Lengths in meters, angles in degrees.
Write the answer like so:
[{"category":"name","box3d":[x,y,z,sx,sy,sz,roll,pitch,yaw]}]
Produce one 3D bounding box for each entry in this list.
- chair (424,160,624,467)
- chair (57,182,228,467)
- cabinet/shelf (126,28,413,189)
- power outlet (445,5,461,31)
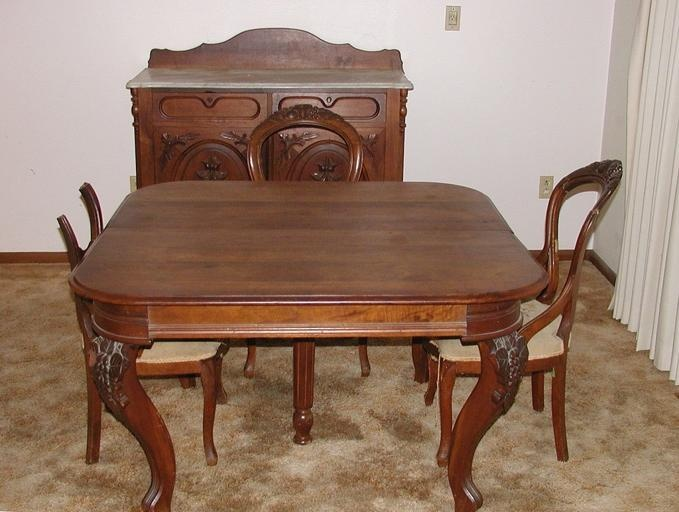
[{"category":"chair","box3d":[0.673,0.184,2.260,0.693,1.078,0.673,-6,15,-12]},{"category":"chair","box3d":[-0.657,0.269,1.982,0.588,1.020,0.580,-1,42,-10]},{"category":"cabinet/shelf","box3d":[-0.426,-0.707,3.601,1.473,1.299,0.460,-1,27,-3]},{"category":"power outlet","box3d":[0.696,-1.480,3.562,0.122,0.190,0.018,-1,17,-2]}]
